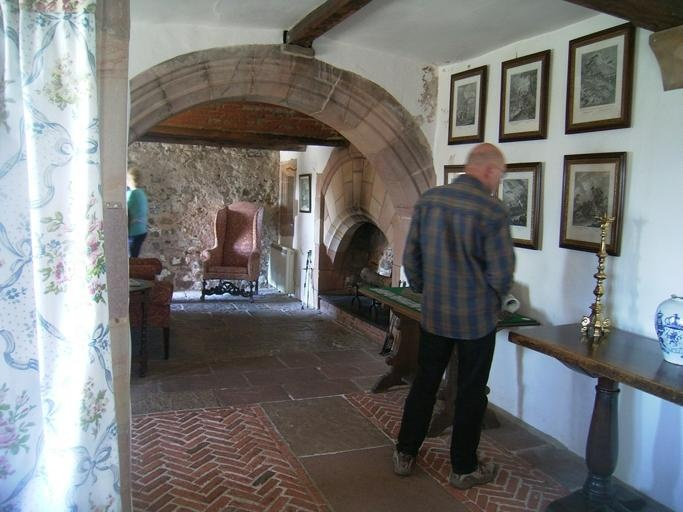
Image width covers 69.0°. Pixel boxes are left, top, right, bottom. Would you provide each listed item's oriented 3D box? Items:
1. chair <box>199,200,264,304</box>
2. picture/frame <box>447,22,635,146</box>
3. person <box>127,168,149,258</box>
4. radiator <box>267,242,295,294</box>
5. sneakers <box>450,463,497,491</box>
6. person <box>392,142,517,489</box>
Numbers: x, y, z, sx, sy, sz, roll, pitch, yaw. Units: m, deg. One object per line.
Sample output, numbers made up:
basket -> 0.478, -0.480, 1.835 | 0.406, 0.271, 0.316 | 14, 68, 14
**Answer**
chair -> -1.975, -0.133, 9.033 | 1.020, 1.687, 1.098 | 1, 7, -10
picture/frame -> 1.575, -1.282, 3.737 | 0.085, 0.794, 1.279 | -1, 7, -27
person -> -2.968, -0.612, 7.235 | 0.249, 1.287, 0.702 | 0, 8, -23
radiator -> -1.156, 0.223, 9.648 | 0.144, 0.599, 1.010 | 2, 1, -26
sneakers -> 0.841, 1.373, 3.238 | 0.332, 0.146, 0.127 | -7, 7, -24
person -> 0.695, 0.378, 3.106 | 0.667, 2.130, 0.306 | 5, 7, 17
